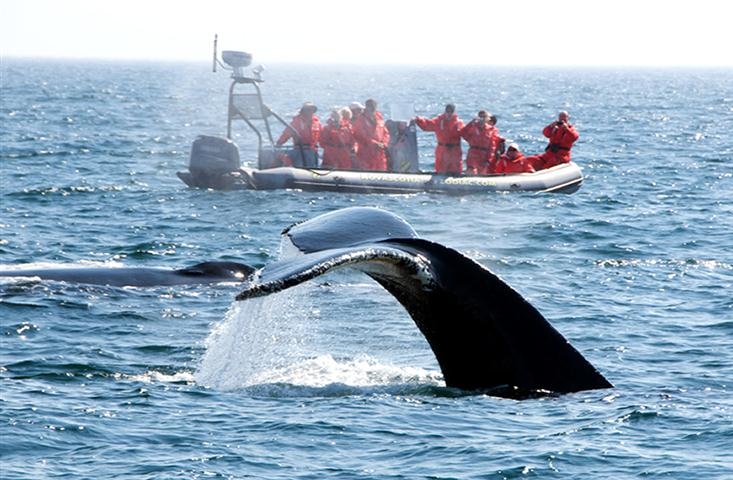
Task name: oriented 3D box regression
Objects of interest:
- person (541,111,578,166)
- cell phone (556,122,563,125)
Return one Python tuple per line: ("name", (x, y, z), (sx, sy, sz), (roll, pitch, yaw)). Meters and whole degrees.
("person", (5.270, -2.718, 39.988), (0.889, 1.679, 1.023), (4, 18, 4))
("cell phone", (5.239, -3.149, 39.564), (0.034, 0.114, 0.188), (-15, 21, -41))
